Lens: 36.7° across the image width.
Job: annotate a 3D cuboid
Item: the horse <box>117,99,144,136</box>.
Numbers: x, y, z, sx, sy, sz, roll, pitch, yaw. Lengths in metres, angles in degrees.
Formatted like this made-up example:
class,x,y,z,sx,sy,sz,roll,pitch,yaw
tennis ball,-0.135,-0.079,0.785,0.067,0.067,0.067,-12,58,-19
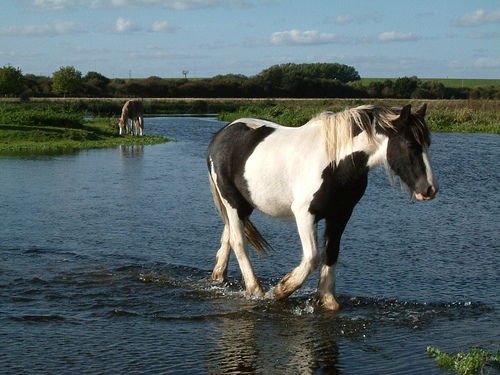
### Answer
class,x,y,z,sx,sy,sz,roll,pitch,yaw
horse,-5.475,-3.256,35.123,0.673,1.560,2.804,5,16,11
